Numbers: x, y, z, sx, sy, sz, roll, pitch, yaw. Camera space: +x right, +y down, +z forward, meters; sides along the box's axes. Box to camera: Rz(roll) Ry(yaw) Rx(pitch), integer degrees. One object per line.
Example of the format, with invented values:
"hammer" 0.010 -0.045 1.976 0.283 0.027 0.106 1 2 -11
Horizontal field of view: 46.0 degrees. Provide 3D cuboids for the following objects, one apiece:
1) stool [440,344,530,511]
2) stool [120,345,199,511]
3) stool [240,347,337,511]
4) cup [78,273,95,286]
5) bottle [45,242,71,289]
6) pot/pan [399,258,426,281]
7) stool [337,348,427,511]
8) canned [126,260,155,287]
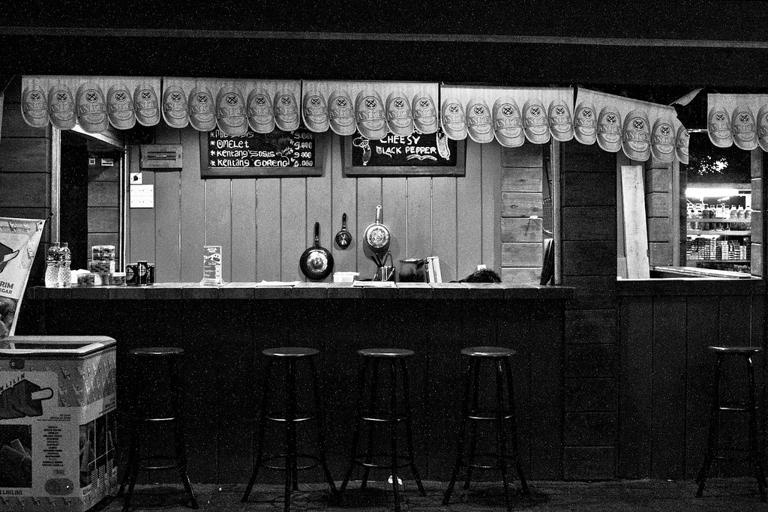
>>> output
"stool" 0.792 1.342 7.125 0.665 1.248 0.734 -1 -3 9
"stool" -1.757 1.334 7.052 0.585 1.238 0.715 0 -3 -17
"stool" -0.744 1.337 7.066 0.747 1.242 0.729 0 -3 -6
"cup" -2.403 0.189 7.286 0.126 0.105 0.075 0 -3 -19
"bottle" -2.643 0.071 7.310 0.187 0.368 0.227 1 -3 -37
"pot/pan" 0.259 0.144 8.899 0.274 0.214 0.240 1 -3 -30
"stool" -0.021 1.344 7.084 0.684 1.229 0.655 -1 -3 -1
"canned" -1.997 0.148 7.387 0.192 0.169 0.193 0 -4 -12
